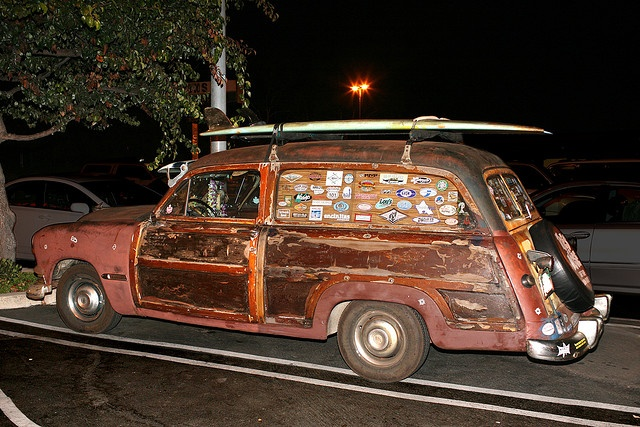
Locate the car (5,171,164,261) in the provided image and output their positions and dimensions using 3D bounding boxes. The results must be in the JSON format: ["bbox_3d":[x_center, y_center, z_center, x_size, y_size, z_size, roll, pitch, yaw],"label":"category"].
[{"bbox_3d":[-6.234,0.024,10.221,4.743,1.325,1.923,-2,2,12],"label":"car"}]
